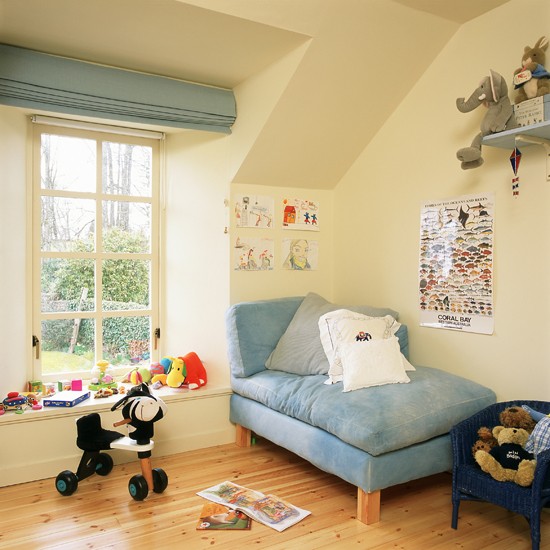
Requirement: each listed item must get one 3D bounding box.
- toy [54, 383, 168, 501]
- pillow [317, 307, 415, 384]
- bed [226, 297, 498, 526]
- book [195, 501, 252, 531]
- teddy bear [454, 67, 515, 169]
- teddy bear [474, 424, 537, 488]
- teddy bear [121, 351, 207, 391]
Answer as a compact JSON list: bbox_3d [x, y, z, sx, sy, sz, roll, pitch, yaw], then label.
[{"bbox_3d":[-0.849,0.833,2.566,0.507,0.547,0.354,2,4,36],"label":"toy"},{"bbox_3d":[0.426,0.392,2.812,0.458,0.394,0.123,-2,-21,-17],"label":"pillow"},{"bbox_3d":[0.436,0.643,2.846,0.971,0.672,1.246,-6,10,-41],"label":"bed"},{"bbox_3d":[-0.231,1.110,2.336,0.239,0.017,0.227,0,3,-2],"label":"book"},{"bbox_3d":[1.046,-0.799,2.532,0.255,0.506,0.352,1,4,18],"label":"teddy bear"},{"bbox_3d":[0.980,0.742,2.127,0.256,0.213,0.155,-1,-3,26],"label":"teddy bear"},{"bbox_3d":[-0.714,0.622,3.272,0.453,0.160,0.242,-3,-1,-11],"label":"teddy bear"}]
